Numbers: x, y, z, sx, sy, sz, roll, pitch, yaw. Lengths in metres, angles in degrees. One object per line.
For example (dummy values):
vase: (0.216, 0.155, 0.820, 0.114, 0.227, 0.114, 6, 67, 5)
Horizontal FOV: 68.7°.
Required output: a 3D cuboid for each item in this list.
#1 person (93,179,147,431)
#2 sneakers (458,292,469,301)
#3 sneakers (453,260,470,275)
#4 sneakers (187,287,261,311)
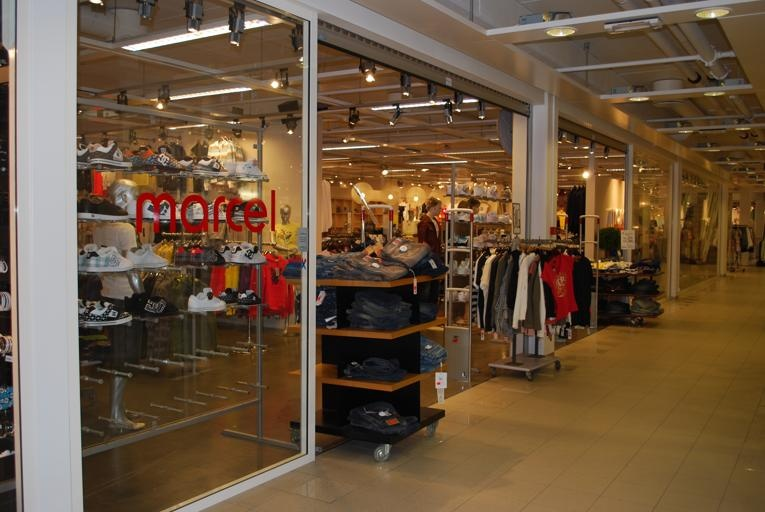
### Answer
person: (-1.752, 0.349, 3.790, 0.126, 1.730, 0.303, 3, 5, 26)
sneakers: (1.031, 0.515, 7.123, 0.139, 0.112, 0.098, -1, 5, 10)
sneakers: (0.999, 0.154, 7.075, 0.326, 0.185, 0.173, 1, -2, -28)
sneakers: (-1.282, 0.338, 4.423, 0.446, 0.141, 0.149, -5, 5, -45)
